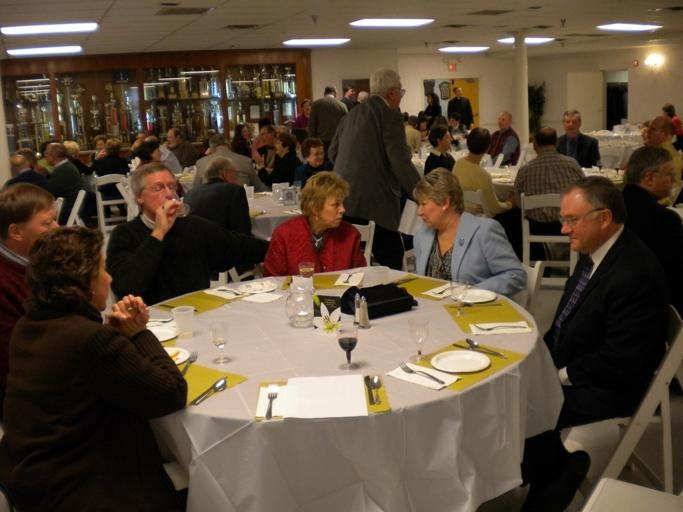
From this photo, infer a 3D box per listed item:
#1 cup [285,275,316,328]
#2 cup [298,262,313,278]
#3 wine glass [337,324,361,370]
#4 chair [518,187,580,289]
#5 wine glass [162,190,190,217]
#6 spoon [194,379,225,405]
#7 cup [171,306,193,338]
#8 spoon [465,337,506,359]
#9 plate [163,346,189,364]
[{"bbox_3d":[-0.190,0.219,2.509,0.168,0.264,0.177,-3,8,0],"label":"cup"},{"bbox_3d":[-0.185,0.079,2.786,0.071,0.087,0.073,-1,9,0],"label":"cup"},{"bbox_3d":[0.026,0.350,1.981,0.091,0.137,0.092,-2,-2,-31],"label":"wine glass"},{"bbox_3d":[1.985,-0.220,5.026,0.368,0.666,0.387,4,4,12],"label":"chair"},{"bbox_3d":[-1.019,-0.294,3.105,0.136,0.157,0.232,-1,12,8],"label":"wine glass"},{"bbox_3d":[-0.474,0.483,1.858,0.036,0.019,0.129,20,36,30],"label":"spoon"},{"bbox_3d":[-0.713,0.292,2.317,0.110,0.130,0.113,-1,10,0],"label":"cup"},{"bbox_3d":[0.582,0.370,2.134,0.044,0.038,0.205,1,21,-47],"label":"spoon"},{"bbox_3d":[-0.682,0.401,2.122,0.081,0.015,0.086,7,18,16],"label":"plate"}]
